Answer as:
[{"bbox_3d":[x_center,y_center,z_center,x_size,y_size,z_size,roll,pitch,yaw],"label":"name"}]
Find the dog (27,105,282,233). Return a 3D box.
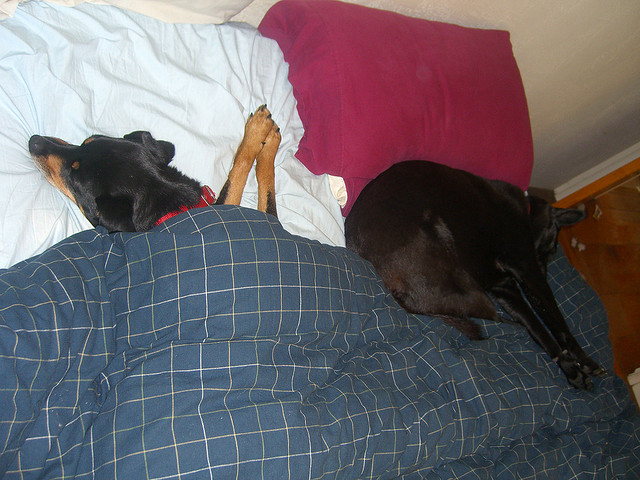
[{"bbox_3d":[-0.527,-0.110,1.964,0.704,0.438,0.362,8,65,-35],"label":"dog"}]

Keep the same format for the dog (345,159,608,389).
[{"bbox_3d":[0.532,0.139,2.139,0.897,0.242,0.502,26,13,-24],"label":"dog"}]
